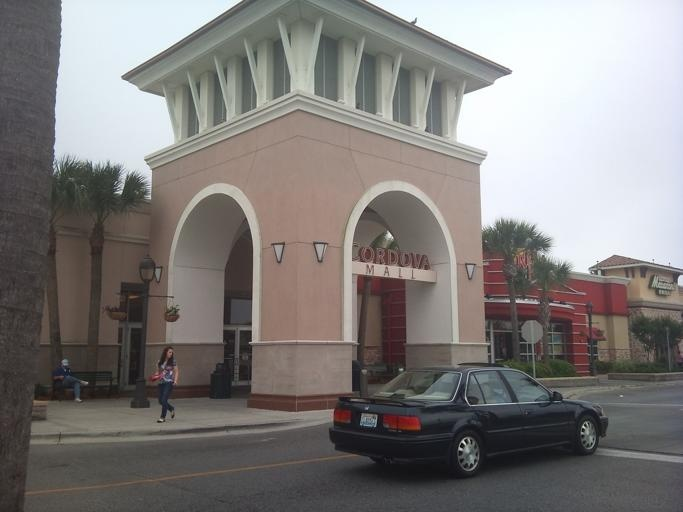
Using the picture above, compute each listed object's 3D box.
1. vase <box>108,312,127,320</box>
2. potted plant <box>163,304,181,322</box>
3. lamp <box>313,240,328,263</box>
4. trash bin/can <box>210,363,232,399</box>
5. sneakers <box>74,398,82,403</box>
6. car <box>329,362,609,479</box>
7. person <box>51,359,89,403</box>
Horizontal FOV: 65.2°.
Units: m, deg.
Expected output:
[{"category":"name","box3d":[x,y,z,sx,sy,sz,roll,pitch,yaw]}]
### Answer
[{"category":"vase","box3d":[-8.665,2.307,20.863,0.503,0.259,0.556,-2,-10,9]},{"category":"potted plant","box3d":[-6.705,2.233,21.268,0.607,0.893,0.660,-8,-14,40]},{"category":"lamp","box3d":[-0.740,-0.160,18.399,0.623,0.887,0.181,5,-8,-36]},{"category":"trash bin/can","box3d":[-4.918,5.040,21.758,0.778,1.348,0.781,3,-8,-20]},{"category":"sneakers","box3d":[-9.710,5.295,19.717,0.431,0.199,0.147,-14,-15,39]},{"category":"car","box3d":[2.224,2.694,9.094,4.382,1.599,1.387,4,-9,-25]},{"category":"person","box3d":[-10.190,4.599,19.880,0.968,1.492,1.444,5,-9,-30]}]
